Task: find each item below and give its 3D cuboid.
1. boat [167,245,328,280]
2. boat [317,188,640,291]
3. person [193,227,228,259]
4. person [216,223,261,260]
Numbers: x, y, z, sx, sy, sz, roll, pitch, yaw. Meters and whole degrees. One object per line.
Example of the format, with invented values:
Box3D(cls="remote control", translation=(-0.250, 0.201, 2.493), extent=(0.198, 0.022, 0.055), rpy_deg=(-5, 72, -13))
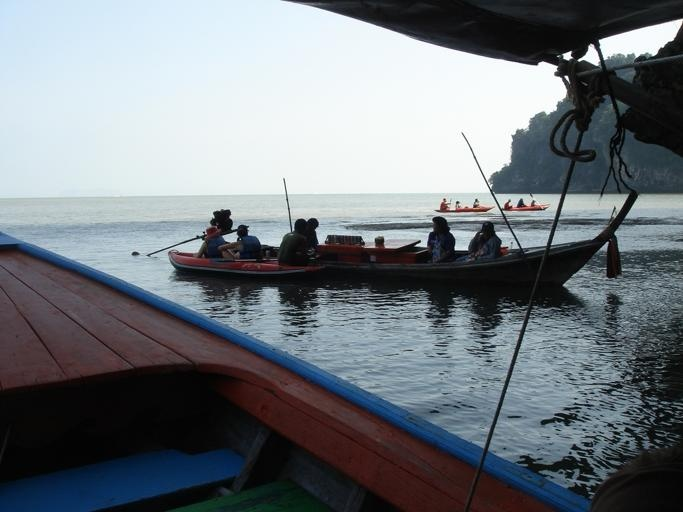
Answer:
Box3D(cls="boat", translation=(-3.082, 0.206, 16.048), extent=(5.065, 0.573, 1.323), rpy_deg=(1, -3, 23))
Box3D(cls="boat", translation=(3.217, -0.053, 14.446), extent=(8.834, 1.564, 1.593), rpy_deg=(-1, -4, 0))
Box3D(cls="person", translation=(-3.965, -0.371, 16.569), extent=(1.321, 0.894, 0.504), rpy_deg=(1, 25, 0))
Box3D(cls="person", translation=(-3.093, -0.334, 16.473), extent=(1.080, 0.950, 1.266), rpy_deg=(9, 16, 26))
